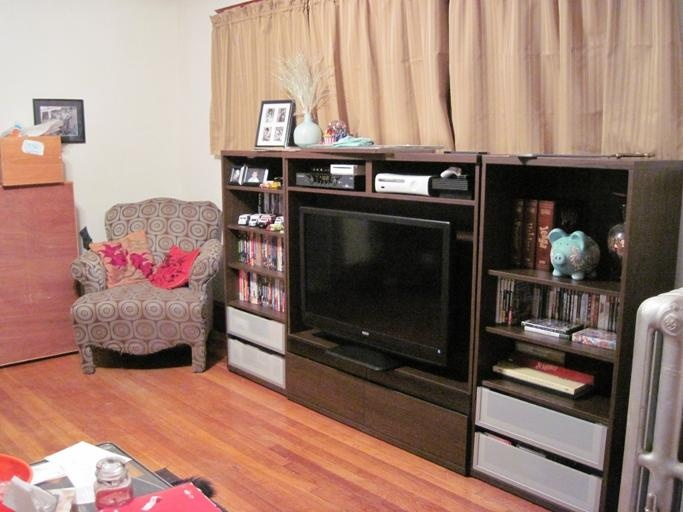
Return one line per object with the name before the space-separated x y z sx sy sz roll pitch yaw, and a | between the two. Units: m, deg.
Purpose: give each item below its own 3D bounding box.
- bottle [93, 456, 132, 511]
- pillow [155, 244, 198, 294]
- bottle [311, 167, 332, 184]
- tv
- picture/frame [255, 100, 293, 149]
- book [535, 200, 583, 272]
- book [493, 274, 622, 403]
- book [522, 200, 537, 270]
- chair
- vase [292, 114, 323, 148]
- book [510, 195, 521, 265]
bottle | -0.714 0.709 1.634 0.105 0.136 0.110 0 14 0
pillow | -1.231 0.098 3.952 0.337 0.308 0.097 12 -25 36
bottle | -0.108 -0.478 3.077 0.095 0.039 0.128 4 19 6
tv | 0.201 0.177 2.875 1.000 0.658 0.270 9 16 39
picture/frame | -0.452 -0.899 3.554 0.020 0.308 0.337 5 8 -44
book | 0.978 -0.095 2.342 0.156 0.371 0.284 8 15 36
book | 0.998 0.370 2.375 0.216 0.460 0.610 -7 11 -39
book | 0.885 -0.102 2.450 0.016 0.319 0.069 -9 17 -32
chair | -1.169 0.137 4.120 1.275 1.282 1.271 0 7 0
vase | -0.210 -0.801 3.330 0.182 0.204 0.168 0 13 2
book | 0.838 -0.110 2.494 0.017 0.314 0.065 -9 17 -33
